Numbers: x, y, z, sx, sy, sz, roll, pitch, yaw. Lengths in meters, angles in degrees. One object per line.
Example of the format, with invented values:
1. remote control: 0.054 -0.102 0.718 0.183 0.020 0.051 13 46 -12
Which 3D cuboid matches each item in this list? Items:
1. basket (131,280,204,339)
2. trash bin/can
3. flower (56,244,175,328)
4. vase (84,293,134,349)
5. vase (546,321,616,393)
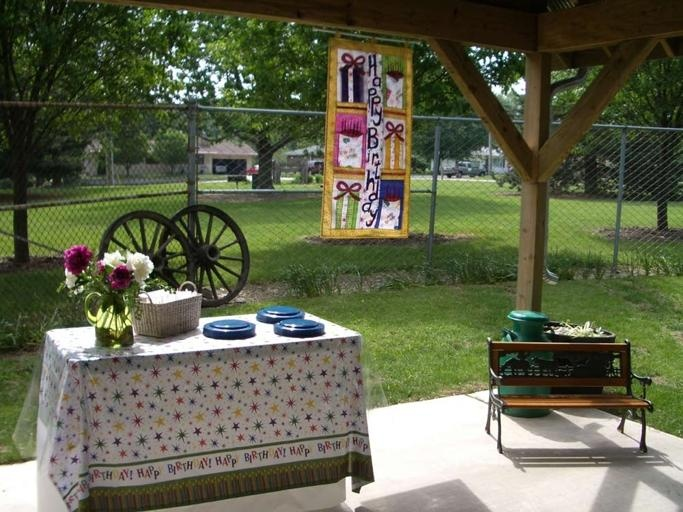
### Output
1. basket: -1.253 0.396 5.564 0.265 0.309 0.450 6 8 33
2. trash bin/can: 2.217 0.945 7.121 0.576 0.640 0.697 1 4 6
3. flower: -1.619 0.175 5.505 0.573 0.484 0.589 2 1 -5
4. vase: -1.678 0.466 5.443 0.397 0.479 0.262 0 -1 -8
5. vase: 2.192 0.952 7.122 0.572 0.653 0.691 1 4 6
